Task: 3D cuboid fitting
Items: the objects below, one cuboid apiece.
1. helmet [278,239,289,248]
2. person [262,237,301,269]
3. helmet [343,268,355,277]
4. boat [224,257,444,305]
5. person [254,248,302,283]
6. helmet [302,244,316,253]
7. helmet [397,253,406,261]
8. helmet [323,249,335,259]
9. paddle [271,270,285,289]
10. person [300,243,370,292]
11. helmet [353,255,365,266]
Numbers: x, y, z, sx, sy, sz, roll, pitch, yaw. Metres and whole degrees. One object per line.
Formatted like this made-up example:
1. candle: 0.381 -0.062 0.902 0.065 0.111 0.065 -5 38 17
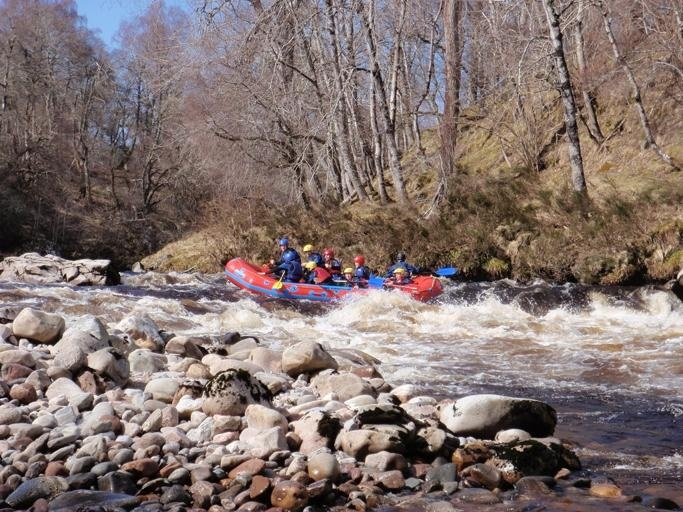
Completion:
1. helmet: -1.625 -0.410 20.958 0.332 0.312 0.253 6 -10 -9
2. person: -1.619 -0.018 20.928 1.047 1.033 0.710 -14 19 -33
3. helmet: 0.207 0.421 20.005 0.238 0.212 0.186 5 1 17
4. boat: -0.581 0.618 20.077 6.267 1.661 1.608 -7 -4 34
5. person: -1.578 0.337 20.797 1.013 1.100 0.761 -11 6 -15
6. helmet: -0.988 -0.213 21.653 0.265 0.286 0.382 1 12 22
7. helmet: 1.681 0.010 20.711 0.223 0.234 0.215 6 8 34
8. helmet: -0.331 -0.118 21.647 0.252 0.215 0.271 -5 -14 -8
9. paddle: -1.719 0.699 20.312 0.189 0.614 0.213 33 -23 -24
10. person: -0.225 0.375 20.550 1.816 0.805 1.080 24 -21 -17
11. helmet: 0.494 0.120 20.827 0.324 0.312 0.265 5 0 9
